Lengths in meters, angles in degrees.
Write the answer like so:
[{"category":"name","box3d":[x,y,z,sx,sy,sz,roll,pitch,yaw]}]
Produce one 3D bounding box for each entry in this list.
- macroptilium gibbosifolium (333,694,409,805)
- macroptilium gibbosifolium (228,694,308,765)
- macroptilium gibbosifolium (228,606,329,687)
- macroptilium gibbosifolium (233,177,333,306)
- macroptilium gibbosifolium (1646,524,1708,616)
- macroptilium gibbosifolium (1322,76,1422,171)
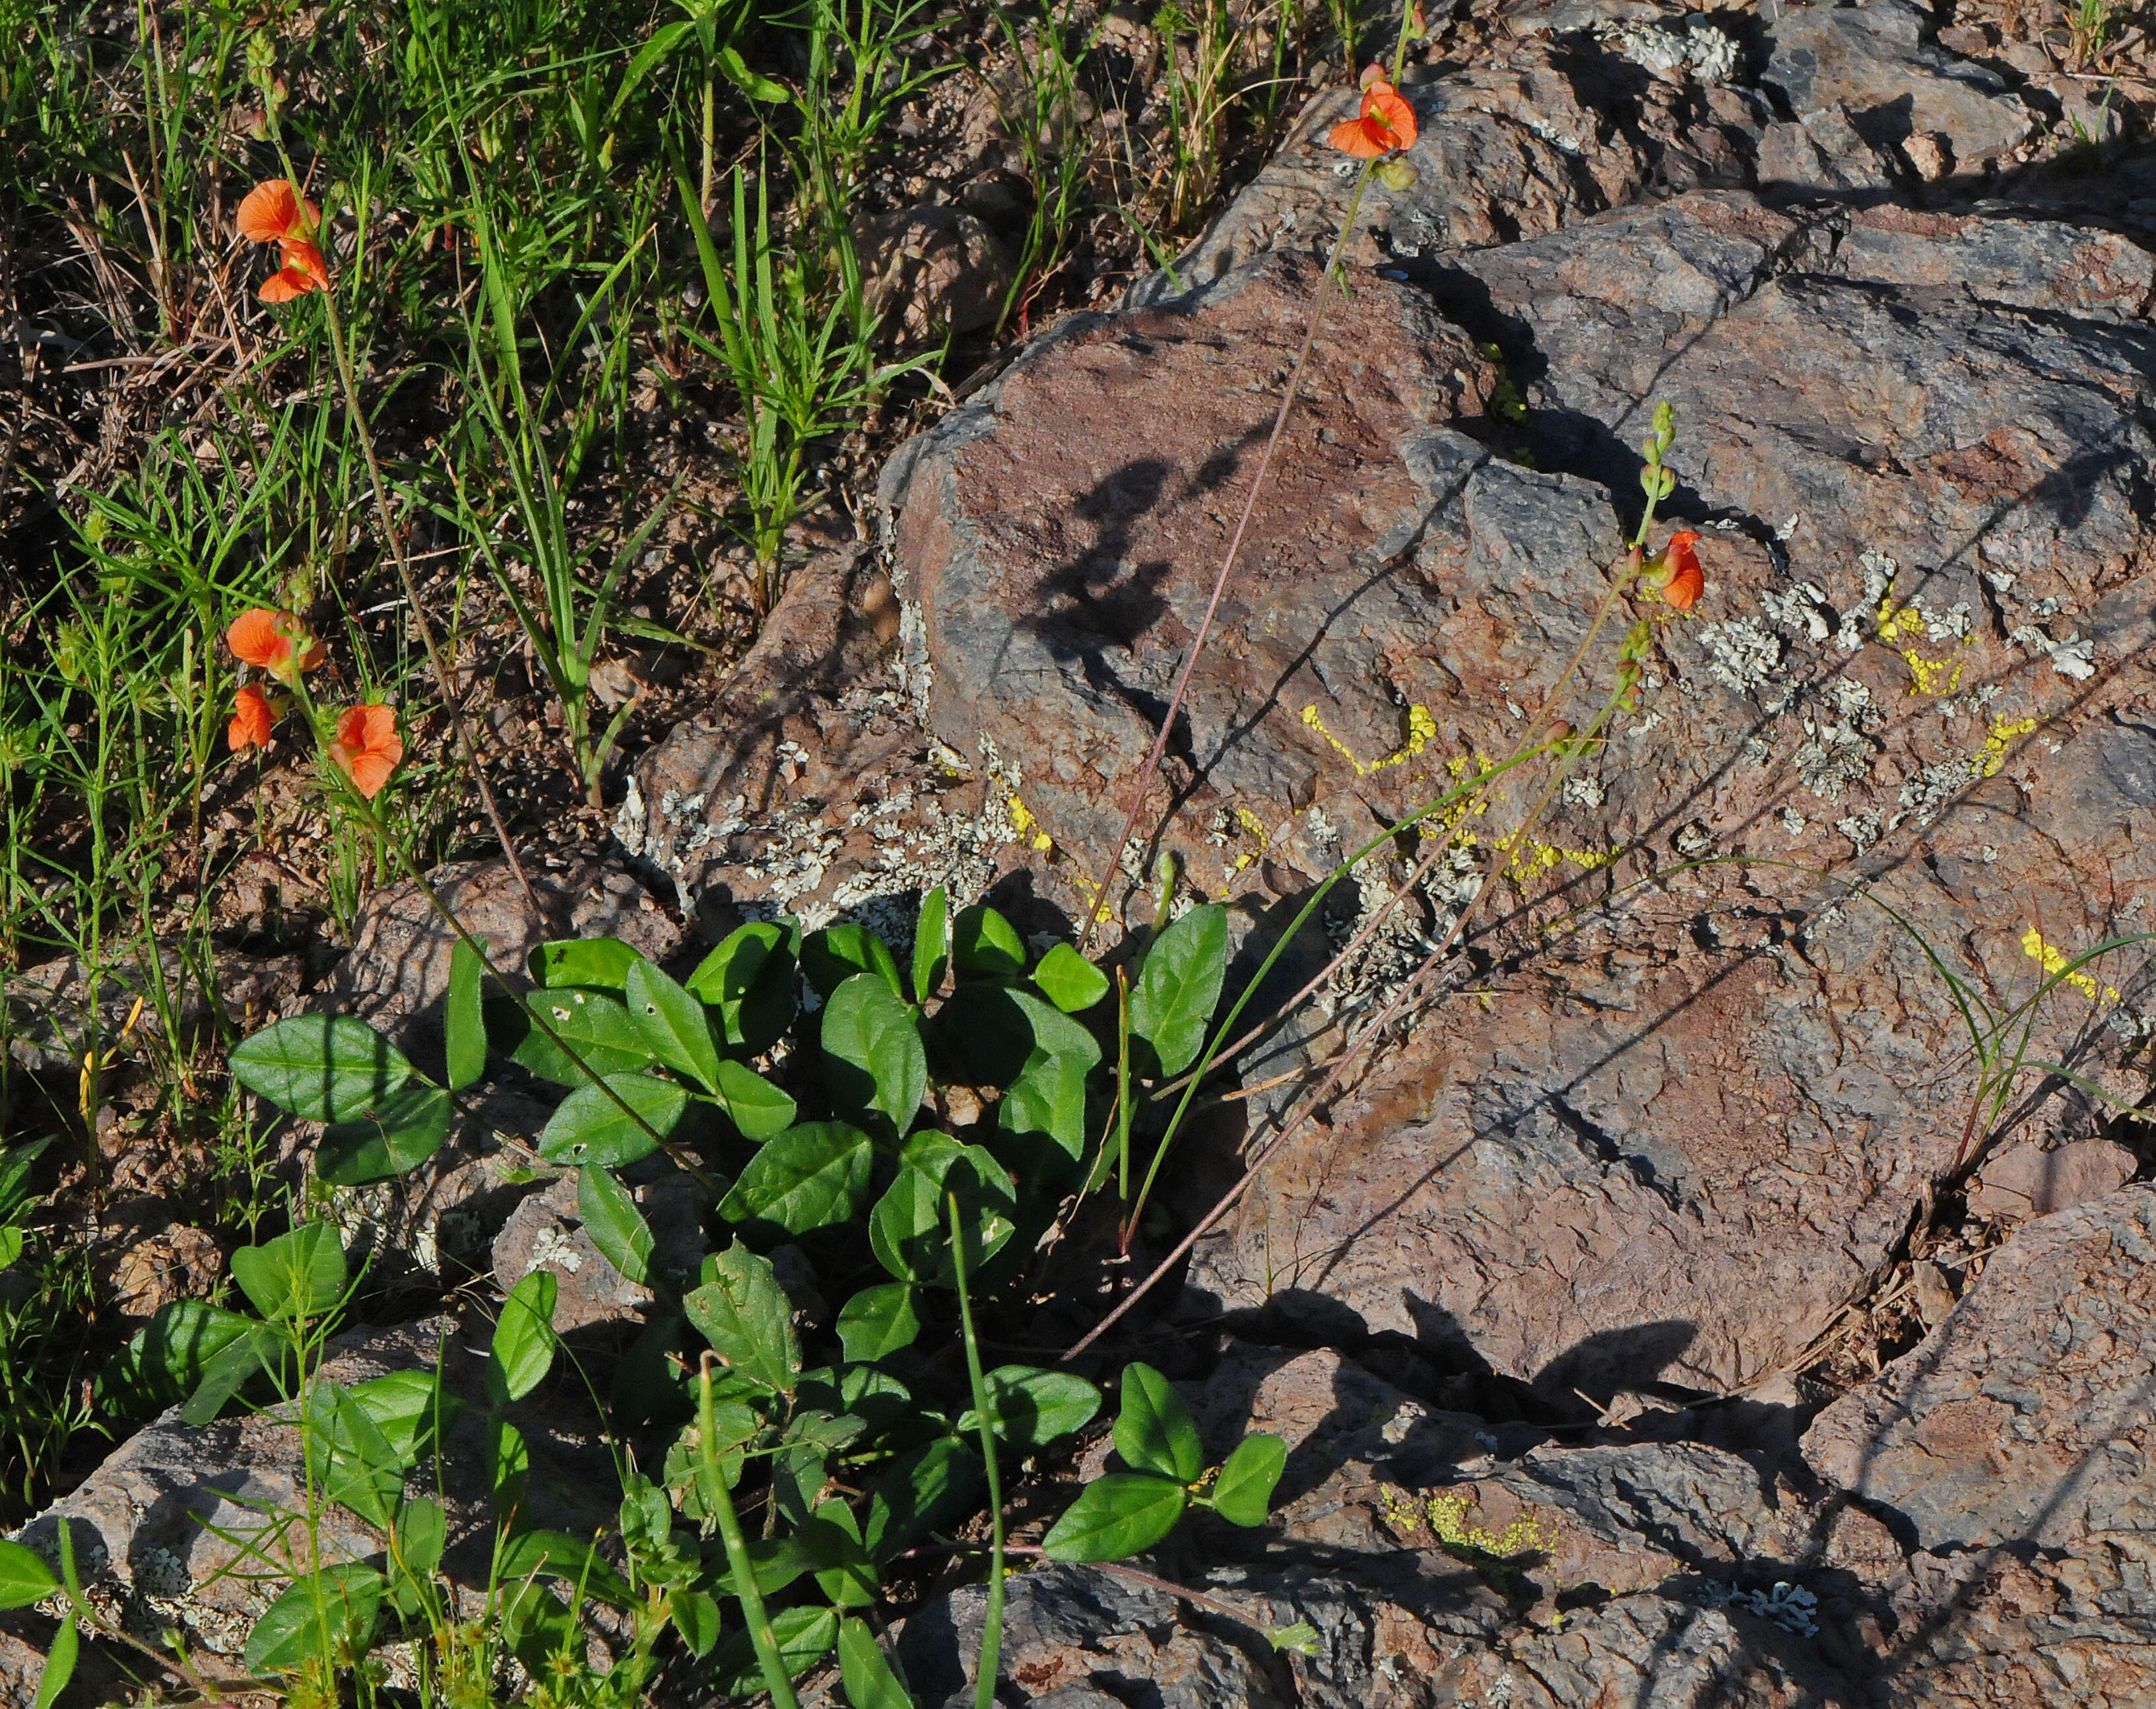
[{"category":"macroptilium gibbosifolium","box3d":[-1.107,-0.164,3.654,0.109,0.148,0.065,2,-2,-11]},{"category":"macroptilium gibbosifolium","box3d":[-1.446,-0.219,4.167,0.099,0.127,0.053,21,9,26]},{"category":"macroptilium gibbosifolium","box3d":[-1.239,-0.326,3.611,0.131,0.127,0.037,22,3,10]},{"category":"macroptilium gibbosifolium","box3d":[-1.241,-0.959,3.668,0.154,0.199,0.070,-7,51,-44]},{"category":"macroptilium gibbosifolium","box3d":[0.962,-0.463,3.752,0.080,0.139,0.320,23,6,11]},{"category":"macroptilium gibbosifolium","box3d":[0.496,-1.223,3.917,0.120,0.150,0.319,23,6,1]}]
